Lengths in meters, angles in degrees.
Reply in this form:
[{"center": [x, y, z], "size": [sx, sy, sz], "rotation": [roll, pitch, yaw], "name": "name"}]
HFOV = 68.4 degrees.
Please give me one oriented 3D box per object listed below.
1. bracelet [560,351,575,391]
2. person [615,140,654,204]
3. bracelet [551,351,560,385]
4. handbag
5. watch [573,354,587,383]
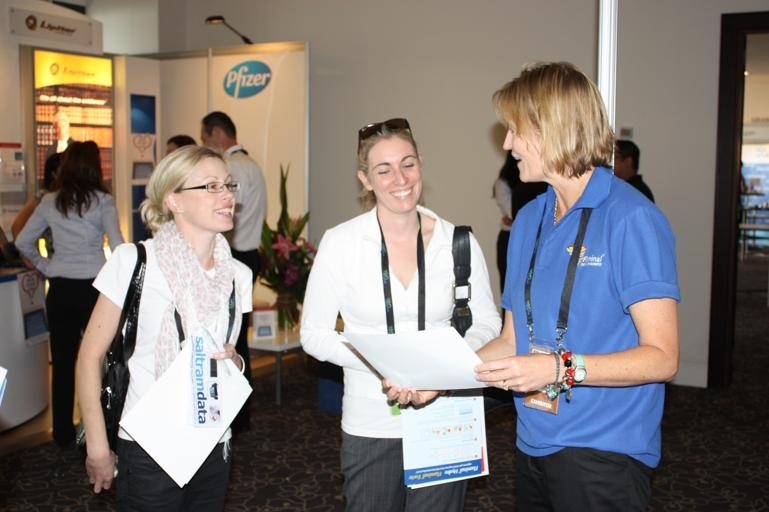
[{"center": [0.614, 0.395, 1.918], "size": [0.035, 0.105, 0.078], "rotation": [-4, -3, 13], "name": "bracelet"}, {"center": [2.407, -0.782, 5.643], "size": [0.363, 0.750, 0.631], "rotation": [11, 6, 25], "name": "person"}, {"center": [0.580, 0.381, 1.915], "size": [0.027, 0.109, 0.036], "rotation": [0, 9, 4], "name": "bracelet"}, {"center": [-1.076, 0.561, 2.259], "size": [0.107, 0.376, 0.078], "rotation": [-4, 9, -19], "name": "handbag"}, {"center": [0.647, 0.373, 1.876], "size": [0.045, 0.079, 0.072], "rotation": [0, 6, 3], "name": "watch"}]
